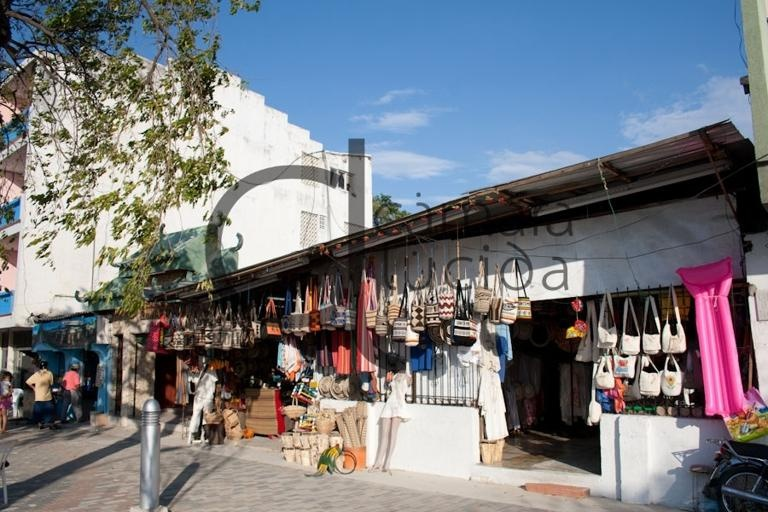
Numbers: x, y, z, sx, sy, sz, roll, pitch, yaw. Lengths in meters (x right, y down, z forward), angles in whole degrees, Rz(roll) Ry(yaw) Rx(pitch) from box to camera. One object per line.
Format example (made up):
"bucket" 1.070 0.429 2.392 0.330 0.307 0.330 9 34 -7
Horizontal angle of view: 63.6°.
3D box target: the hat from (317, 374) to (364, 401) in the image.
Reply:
"hat" -1.029 3.033 14.329 1.219 0.574 0.281 -13 -18 39

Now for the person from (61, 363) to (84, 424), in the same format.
"person" -10.079 4.382 19.941 0.627 1.831 1.466 5 -15 -27

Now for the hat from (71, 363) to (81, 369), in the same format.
"hat" -9.860 3.528 19.696 0.225 0.212 0.496 7 -17 -31

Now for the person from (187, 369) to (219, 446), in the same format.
"person" -4.840 3.817 16.339 0.675 2.115 0.496 4 20 -25

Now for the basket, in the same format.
"basket" -1.617 4.063 13.829 1.013 1.273 1.621 10 -18 -38

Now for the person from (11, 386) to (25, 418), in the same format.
"person" -14.057 5.584 23.674 0.346 1.004 0.685 7 -15 -32

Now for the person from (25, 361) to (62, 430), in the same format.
"person" -10.453 4.237 18.922 0.841 1.977 0.899 6 -15 -28

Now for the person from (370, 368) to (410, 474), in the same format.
"person" 0.171 3.479 13.051 0.917 2.003 0.393 -11 -16 38
